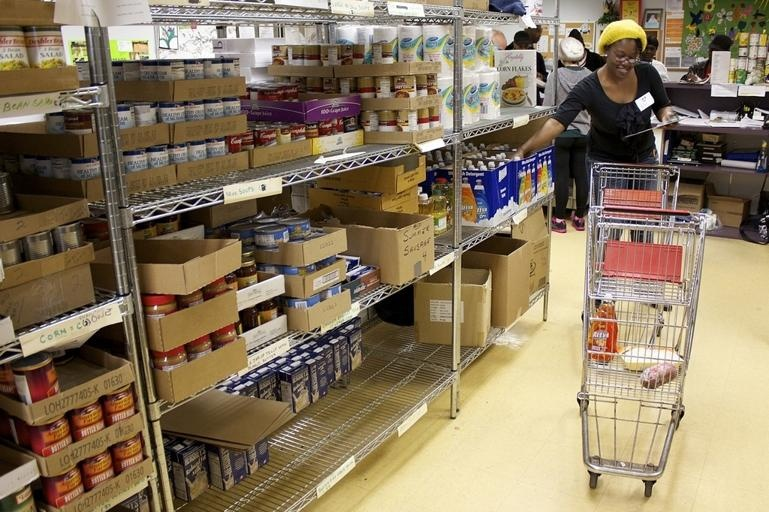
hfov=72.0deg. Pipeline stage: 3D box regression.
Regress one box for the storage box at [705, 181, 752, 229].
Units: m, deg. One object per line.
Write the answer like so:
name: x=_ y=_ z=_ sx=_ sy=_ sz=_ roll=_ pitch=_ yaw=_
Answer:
storage box: x=4.312 y=-0.730 z=6.551 sx=0.548 sy=0.642 sz=0.575 roll=1 pitch=39 yaw=31

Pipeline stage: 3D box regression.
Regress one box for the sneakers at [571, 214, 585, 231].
sneakers: x=2.431 y=-0.430 z=6.614 sx=0.105 sy=0.098 sz=0.243 roll=-1 pitch=23 yaw=5

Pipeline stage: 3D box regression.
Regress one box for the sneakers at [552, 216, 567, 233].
sneakers: x=2.128 y=-0.382 z=6.448 sx=0.148 sy=0.142 sz=0.346 roll=-3 pitch=18 yaw=-2

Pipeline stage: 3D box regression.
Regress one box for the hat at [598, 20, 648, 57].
hat: x=1.671 y=-1.505 z=3.674 sx=0.321 sy=0.181 sz=0.295 roll=6 pitch=0 yaw=41

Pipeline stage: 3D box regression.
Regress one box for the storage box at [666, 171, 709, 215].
storage box: x=3.860 y=-0.840 z=6.717 sx=0.381 sy=0.456 sz=0.316 roll=13 pitch=29 yaw=32

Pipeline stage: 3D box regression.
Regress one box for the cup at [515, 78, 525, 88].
cup: x=1.082 y=-1.379 z=4.229 sx=0.068 sy=0.067 sz=0.064 roll=-11 pitch=36 yaw=8

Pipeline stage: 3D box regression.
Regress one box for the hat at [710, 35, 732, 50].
hat: x=4.389 y=-2.772 z=6.862 sx=0.219 sy=0.192 sz=0.268 roll=3 pitch=18 yaw=11
